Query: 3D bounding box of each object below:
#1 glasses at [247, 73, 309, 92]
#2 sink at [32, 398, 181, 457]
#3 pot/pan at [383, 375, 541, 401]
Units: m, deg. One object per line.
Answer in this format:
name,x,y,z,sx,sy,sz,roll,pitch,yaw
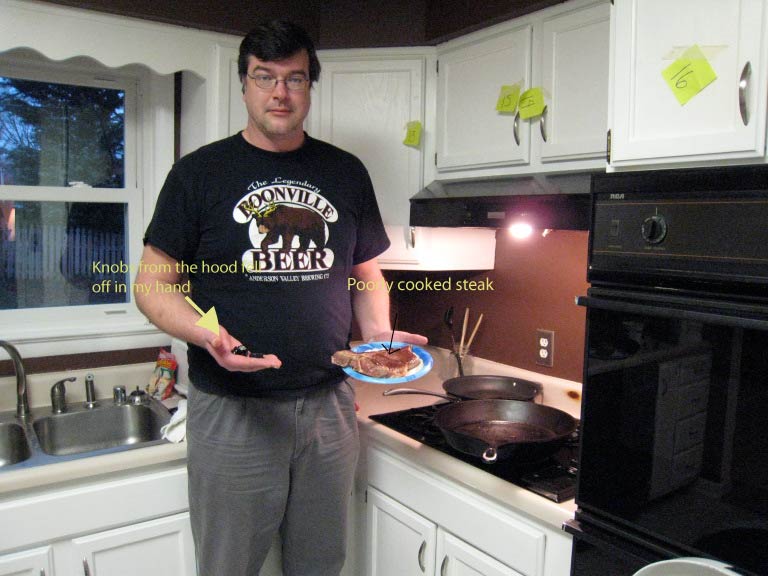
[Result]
glasses,-0.296,-0.575,1.713,0.177,0.063,0.065,-5,7,-10
sink,-1.051,0.536,2.281,0.306,0.108,0.250,-6,17,-24
pot/pan,0.369,0.388,2.346,0.312,0.043,0.185,-4,3,-11
